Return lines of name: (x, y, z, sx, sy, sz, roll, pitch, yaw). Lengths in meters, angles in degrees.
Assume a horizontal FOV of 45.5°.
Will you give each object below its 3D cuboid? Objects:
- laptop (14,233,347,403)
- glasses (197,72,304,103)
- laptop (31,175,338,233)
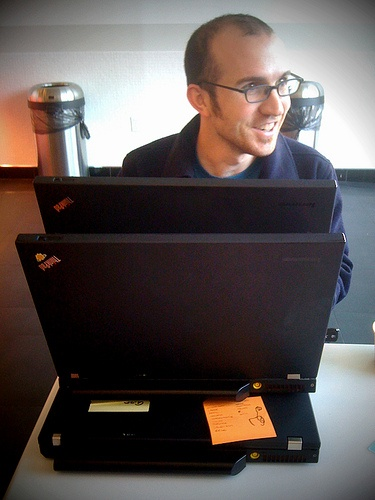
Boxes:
laptop: (-0.010, 0.092, 0.658, 0.382, 0.282, 0.276, 0, 36, 1)
glasses: (0.172, -0.496, 1.350, 0.313, 0.087, 0.107, 12, 27, 19)
laptop: (-0.002, -0.060, 0.645, 0.425, 0.104, 0.030, 3, 27, 1)
